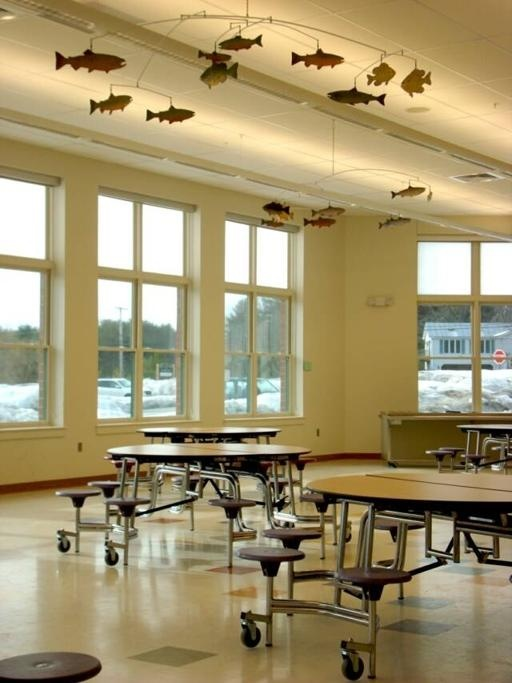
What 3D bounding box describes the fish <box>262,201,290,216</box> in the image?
[{"bbox_3d":[0.185,-1.192,5.700,0.177,0.108,0.231,-1,-1,-13],"label":"fish"}]
